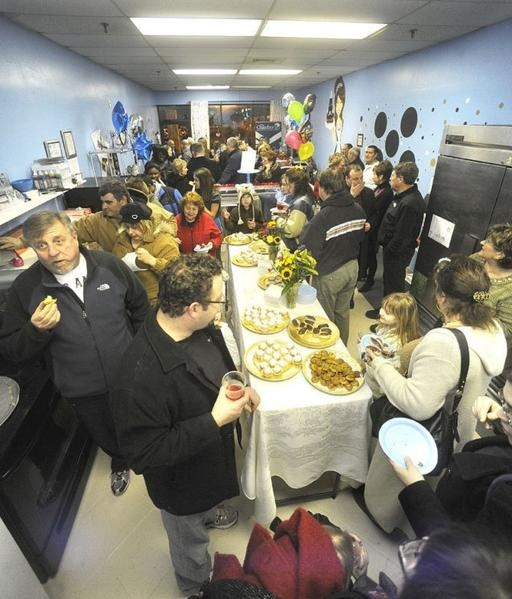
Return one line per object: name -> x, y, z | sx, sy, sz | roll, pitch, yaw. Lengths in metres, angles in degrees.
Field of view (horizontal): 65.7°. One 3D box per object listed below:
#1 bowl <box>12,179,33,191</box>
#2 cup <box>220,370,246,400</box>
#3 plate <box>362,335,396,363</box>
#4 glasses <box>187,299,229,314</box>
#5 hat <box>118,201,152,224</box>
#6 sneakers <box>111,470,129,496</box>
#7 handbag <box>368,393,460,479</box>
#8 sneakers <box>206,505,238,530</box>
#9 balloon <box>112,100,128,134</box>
bowl -> -1.850, -0.901, 3.136 | 0.142, 0.088, 0.139 | 1, 29, -1
cup -> -0.088, 0.341, 1.546 | 0.090, 0.069, 0.091 | 2, 40, -1
plate -> 0.610, 0.251, 1.992 | 0.059, 0.103, 0.160 | 36, 4, -19
glasses -> -0.185, 0.022, 1.504 | 0.131, 0.038, 0.124 | -10, 20, -18
hat -> -0.786, -0.584, 2.604 | 0.130, 0.099, 0.185 | 30, 25, 16
sneakers -> -0.835, 1.114, 2.438 | 0.089, 0.059, 0.152 | -4, 40, -21
handbag -> 0.685, 0.589, 1.657 | 0.189, 0.282, 0.140 | -48, 17, -4
sneakers -> -0.183, 1.210, 2.200 | 0.199, 0.079, 0.086 | -11, 50, -16
balloon -> -2.256, -3.004, 6.508 | 0.207, 0.491, 0.830 | -6, 24, -12
